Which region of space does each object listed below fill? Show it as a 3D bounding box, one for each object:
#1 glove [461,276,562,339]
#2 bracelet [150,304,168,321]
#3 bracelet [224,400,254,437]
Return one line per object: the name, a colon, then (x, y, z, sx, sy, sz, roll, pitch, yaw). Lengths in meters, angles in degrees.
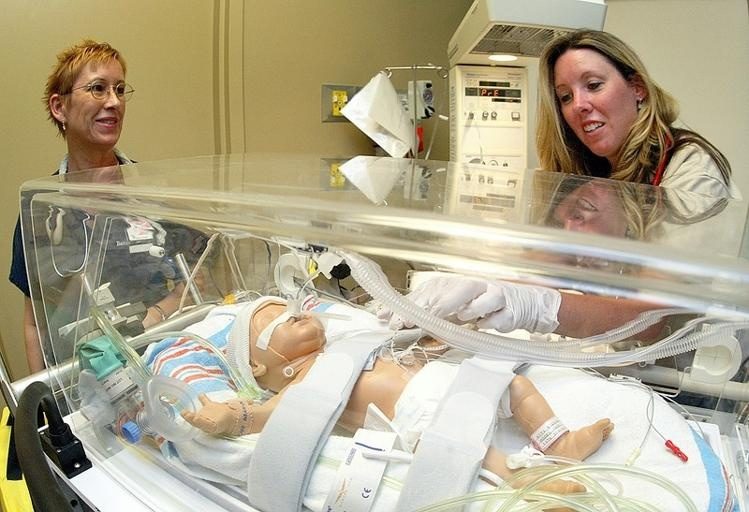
glove: (0.311, 0.114, 1.033, 0.182, 0.121, 0.073, -3, 33, 11)
bracelet: (-0.675, 0.177, 1.437, 0.013, 0.045, 0.042, -36, -13, -19)
bracelet: (-0.349, 0.420, 1.190, 0.060, 0.079, 0.042, -8, -16, 37)
